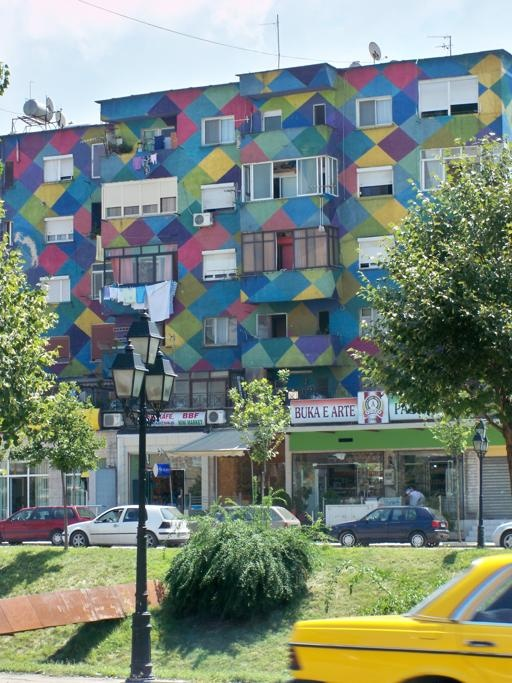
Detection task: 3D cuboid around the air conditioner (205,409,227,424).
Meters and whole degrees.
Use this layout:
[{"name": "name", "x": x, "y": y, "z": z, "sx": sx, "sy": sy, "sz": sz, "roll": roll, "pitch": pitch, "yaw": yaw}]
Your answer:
[{"name": "air conditioner", "x": -1.343, "y": 2.473, "z": 57.915, "sx": 0.683, "sy": 0.543, "sz": 0.391, "roll": -2, "pitch": -7, "yaw": 19}]

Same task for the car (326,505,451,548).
[{"name": "car", "x": 3.517, "y": 4.850, "z": 46.605, "sx": 2.634, "sy": 1.067, "sz": 1.309, "roll": 0, "pitch": -6, "yaw": 22}]

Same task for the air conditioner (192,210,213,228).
[{"name": "air conditioner", "x": -1.812, "y": -3.929, "z": 60.863, "sx": 0.755, "sy": 0.585, "sz": 0.425, "roll": -5, "pitch": -11, "yaw": 31}]
